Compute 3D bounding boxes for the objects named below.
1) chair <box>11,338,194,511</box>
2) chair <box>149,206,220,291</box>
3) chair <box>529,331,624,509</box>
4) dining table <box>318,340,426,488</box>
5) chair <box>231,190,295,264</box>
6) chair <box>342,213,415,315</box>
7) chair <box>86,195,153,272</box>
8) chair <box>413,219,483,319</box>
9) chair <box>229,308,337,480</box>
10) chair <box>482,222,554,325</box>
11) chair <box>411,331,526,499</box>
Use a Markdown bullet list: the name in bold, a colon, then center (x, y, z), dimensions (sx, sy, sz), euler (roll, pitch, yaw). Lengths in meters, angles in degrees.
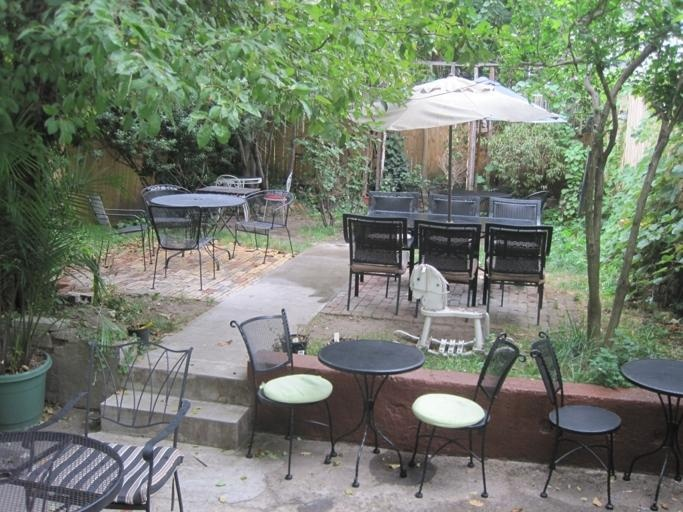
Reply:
- **chair**: center (-1.633, 1.170, 4.083), dimensions (0.964, 1.419, 1.055), euler (4, 3, 11)
- **chair**: center (-2.046, -0.213, 7.570), dimensions (0.710, 1.146, 0.796), euler (0, 22, -4)
- **chair**: center (1.627, 1.103, 4.117), dimensions (0.628, 1.080, 0.632), euler (8, 14, 25)
- **dining table**: center (0.194, 1.143, 4.283), dimensions (0.642, 0.736, 0.645), euler (5, 4, 16)
- **chair**: center (-1.296, -0.521, 9.863), dimensions (0.919, 1.132, 0.974), euler (14, 16, 35)
- **chair**: center (0.405, 0.033, 6.691), dimensions (0.784, 1.050, 0.800), euler (1, 10, -2)
- **chair**: center (-2.564, -0.276, 6.817), dimensions (0.586, 0.794, 0.484), euler (-2, 5, -15)
- **chair**: center (1.260, -0.014, 6.619), dimensions (0.748, 1.011, 0.786), euler (7, 26, 20)
- **chair**: center (-0.420, 0.987, 4.506), dimensions (0.668, 1.077, 0.837), euler (-9, 17, -39)
- **chair**: center (1.942, 0.175, 6.498), dimensions (0.673, 1.105, 0.749), euler (5, 9, 24)
- **chair**: center (0.841, 1.100, 4.124), dimensions (0.715, 1.050, 0.518), euler (1, 7, -2)
